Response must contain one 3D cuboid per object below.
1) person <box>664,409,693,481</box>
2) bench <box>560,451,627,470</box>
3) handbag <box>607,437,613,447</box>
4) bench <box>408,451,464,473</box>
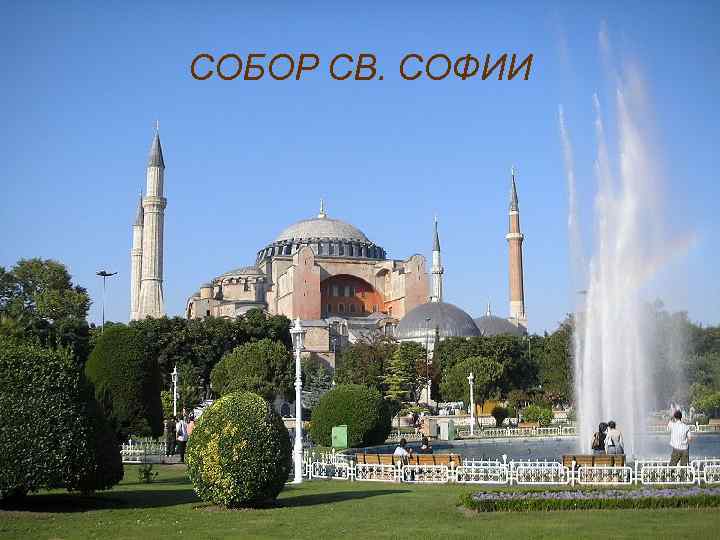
[{"bbox_3d":[7.278,3.960,23.753,0.487,1.545,2.350,-3,-9,16],"label":"person"},{"bbox_3d":[5.278,4.346,23.589,1.351,0.305,0.659,-2,-9,10],"label":"bench"},{"bbox_3d":[5.768,3.992,24.034,0.157,0.196,0.089,8,-19,-38],"label":"handbag"},{"bbox_3d":[1.768,4.532,24.623,1.278,0.343,0.524,-1,-9,6],"label":"bench"}]
